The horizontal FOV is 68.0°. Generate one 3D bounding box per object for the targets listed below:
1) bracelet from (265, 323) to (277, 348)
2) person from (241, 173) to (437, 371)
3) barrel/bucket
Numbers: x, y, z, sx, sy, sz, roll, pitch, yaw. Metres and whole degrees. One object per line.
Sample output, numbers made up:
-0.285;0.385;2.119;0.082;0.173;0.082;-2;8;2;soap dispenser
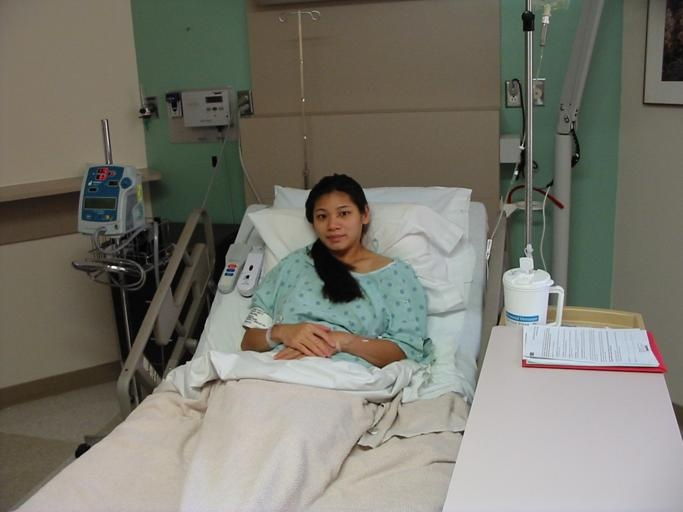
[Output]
-0.255;0.296;1.880;0.032;0.069;0.066;-12;-16;-6;bracelet
-0.040;0.055;1.993;0.704;0.749;0.435;-1;-11;19;person
0.607;0.123;1.652;0.182;0.190;0.154;2;17;14;barrel/bucket
